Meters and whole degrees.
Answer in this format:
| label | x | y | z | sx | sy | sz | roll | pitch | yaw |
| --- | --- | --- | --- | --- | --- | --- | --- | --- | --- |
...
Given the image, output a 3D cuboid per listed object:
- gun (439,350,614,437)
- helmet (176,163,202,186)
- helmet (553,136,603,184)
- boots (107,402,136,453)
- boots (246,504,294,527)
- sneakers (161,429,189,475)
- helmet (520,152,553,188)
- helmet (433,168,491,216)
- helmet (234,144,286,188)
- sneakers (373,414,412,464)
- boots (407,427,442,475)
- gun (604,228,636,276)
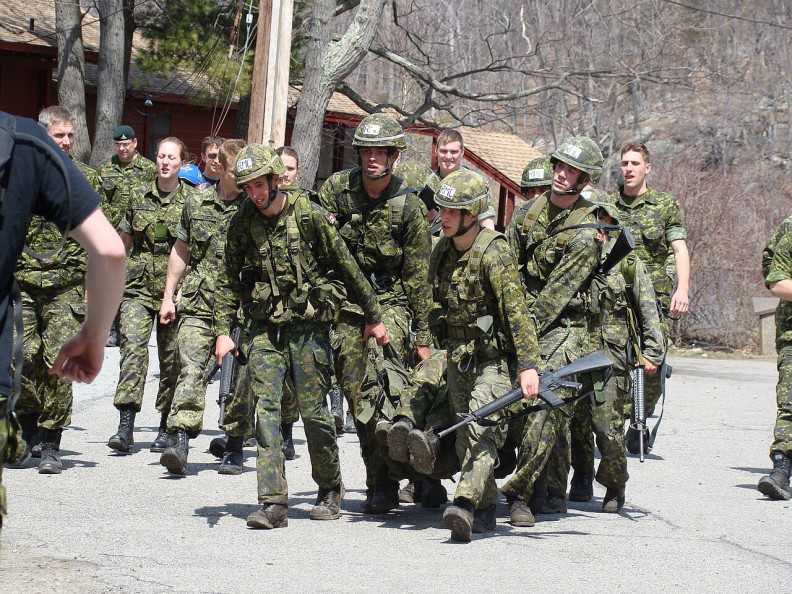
| label | x | y | z | sx | sy | sz | roll | pitch | yaw |
| --- | --- | --- | --- | --- | --- | --- | --- | --- | --- |
| gun | 0.856 | 0.666 | 7.778 | 1.105 | 0.113 | 0.286 | -25 | 26 | -22 |
| helmet | -2.046 | -1.217 | 11.075 | 0.230 | 0.092 | 0.313 | 12 | 7 | 0 |
| helmet | 1.371 | -1.044 | 8.224 | 0.309 | 0.298 | 0.361 | 34 | 20 | 30 |
| boots | -2.468 | 1.197 | 10.095 | 0.168 | 0.395 | 0.406 | 3 | -11 | 5 |
| boots | -0.877 | 1.521 | 7.700 | 0.129 | 0.163 | 0.321 | 2 | -8 | 44 |
| sneakers | -1.807 | 1.265 | 9.190 | 0.106 | 0.226 | 0.321 | 0 | -12 | 8 |
| helmet | 1.157 | -1.034 | 9.209 | 0.233 | 0.251 | 0.261 | -3 | 3 | 8 |
| helmet | 0.456 | -0.704 | 7.730 | 0.301 | 0.311 | 0.375 | 19 | 28 | 38 |
| helmet | -0.954 | -0.920 | 7.614 | 0.243 | 0.250 | 0.325 | -5 | 25 | 35 |
| sneakers | -0.014 | 0.967 | 7.765 | 0.180 | 0.393 | 0.180 | 1 | 20 | 12 |
| boots | 0.198 | 1.036 | 7.638 | 0.177 | 0.336 | 0.227 | -4 | 6 | 31 |
| gun | 1.605 | -0.321 | 8.260 | 0.120 | 0.126 | 0.425 | -37 | -15 | -31 |
